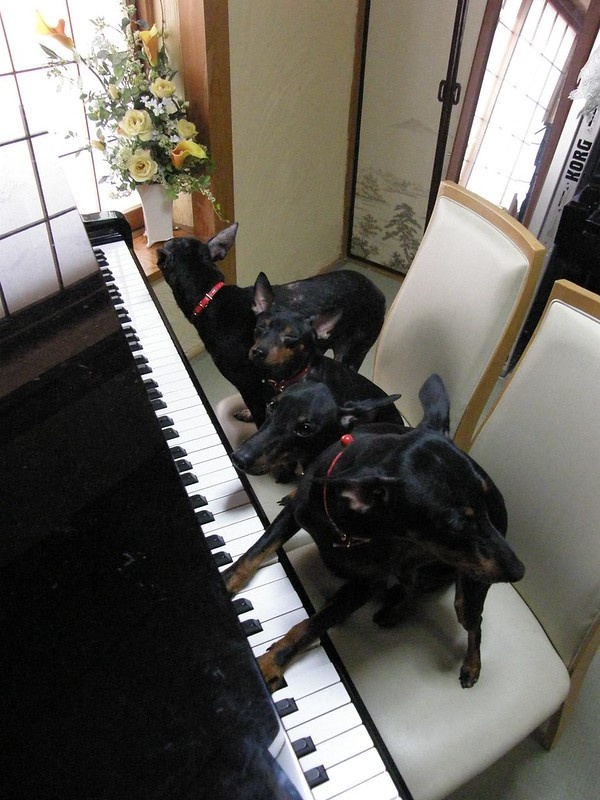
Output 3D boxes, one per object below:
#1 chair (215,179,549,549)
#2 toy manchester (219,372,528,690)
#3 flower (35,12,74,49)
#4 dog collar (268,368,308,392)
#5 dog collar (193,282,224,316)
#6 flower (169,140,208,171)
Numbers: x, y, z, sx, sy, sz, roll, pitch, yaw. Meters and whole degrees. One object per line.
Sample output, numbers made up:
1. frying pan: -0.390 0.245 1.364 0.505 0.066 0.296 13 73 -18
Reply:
1. chair: 0.138 -0.168 1.416 0.664 0.762 0.486 -9 54 -20
2. toy manchester: 0.207 0.133 1.283 0.312 0.558 0.814 54 20 11
3. flower: -0.766 -1.146 1.909 0.125 0.076 0.121 -5 24 -30
4. dog collar: -0.024 -0.051 1.539 0.081 0.031 0.067 -36 24 -5
5. dog collar: -0.258 -0.296 1.731 0.024 0.082 0.091 40 56 -6
6. flower: -0.402 -0.896 2.182 0.129 0.111 0.139 1 38 -10
